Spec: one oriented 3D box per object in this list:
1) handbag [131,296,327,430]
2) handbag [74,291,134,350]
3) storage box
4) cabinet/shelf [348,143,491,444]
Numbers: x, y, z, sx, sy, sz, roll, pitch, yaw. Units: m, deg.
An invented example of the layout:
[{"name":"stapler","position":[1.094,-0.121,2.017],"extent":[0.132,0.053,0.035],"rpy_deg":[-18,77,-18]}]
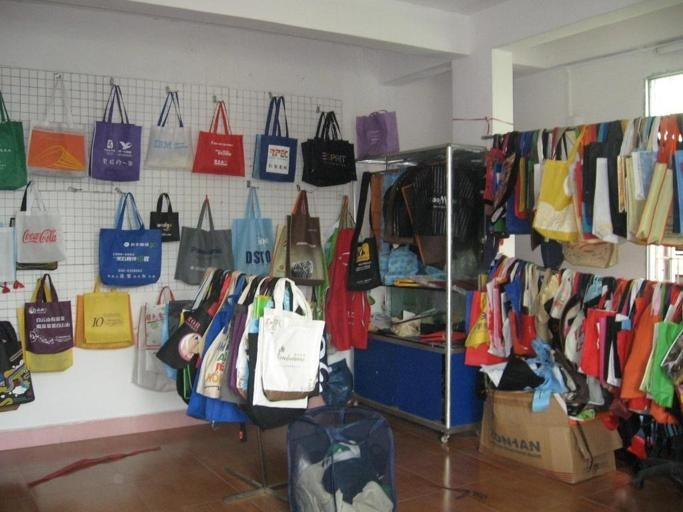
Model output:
[{"name":"handbag","position":[-0.656,0.742,3.817],"extent":[0.873,1.252,0.501],"rpy_deg":[-2,-11,6]},{"name":"handbag","position":[-2.001,0.539,4.807],"extent":[0.432,0.566,0.205],"rpy_deg":[-1,0,-18]},{"name":"storage box","position":[1.472,1.283,4.427],"extent":[0.842,0.610,0.630],"rpy_deg":[-2,4,44]},{"name":"cabinet/shelf","position":[0.637,0.306,5.283],"extent":[0.619,2.390,1.330],"rpy_deg":[-5,3,-29]}]
